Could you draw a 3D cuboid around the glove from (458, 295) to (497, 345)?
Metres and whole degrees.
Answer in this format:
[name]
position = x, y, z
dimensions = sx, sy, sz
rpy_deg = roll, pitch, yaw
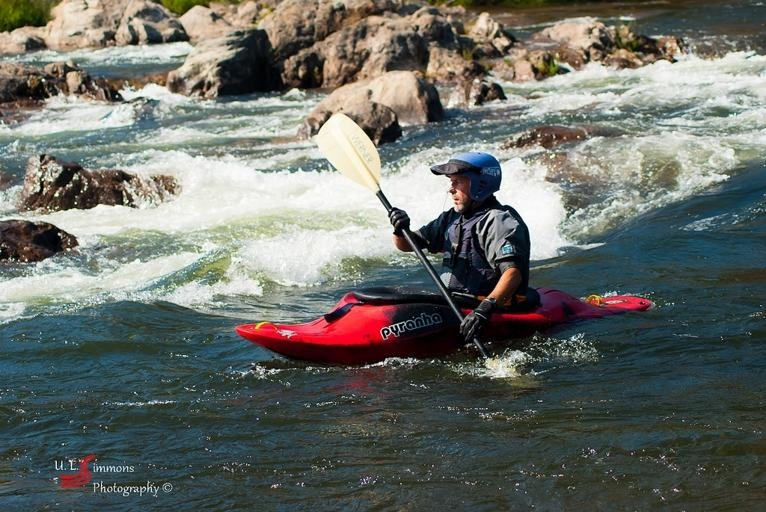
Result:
[glove]
position = 1.182, 0.804, 14.536
dimensions = 0.470, 0.554, 0.240
rpy_deg = -19, 17, -34
